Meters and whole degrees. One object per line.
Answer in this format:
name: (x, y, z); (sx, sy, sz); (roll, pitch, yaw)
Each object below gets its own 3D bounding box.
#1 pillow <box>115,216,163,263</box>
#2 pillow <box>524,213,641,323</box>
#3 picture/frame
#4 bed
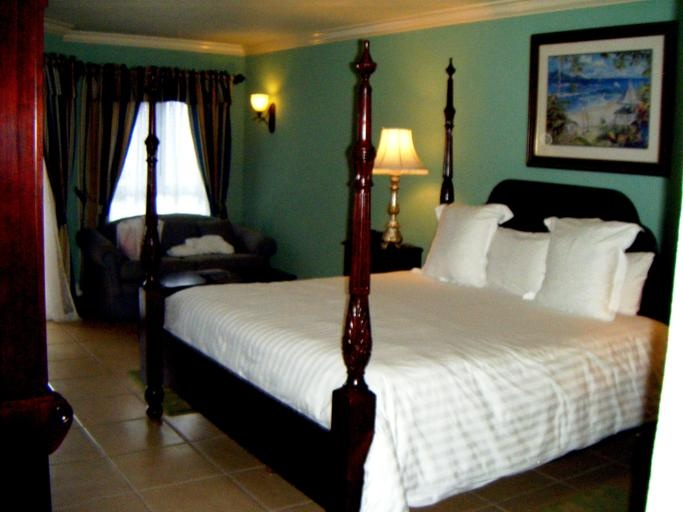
pillow: (-1.790, -0.131, 5.100); (0.289, 0.393, 0.115); (-5, -22, 17)
pillow: (1.466, 0.096, 3.501); (0.217, 0.557, 0.555); (20, -10, -39)
picture/frame: (1.748, -1.078, 3.934); (0.088, 1.005, 1.106); (-4, 10, -36)
bed: (0.136, 0.288, 4.116); (2.635, 2.763, 2.721); (-3, 9, -42)
